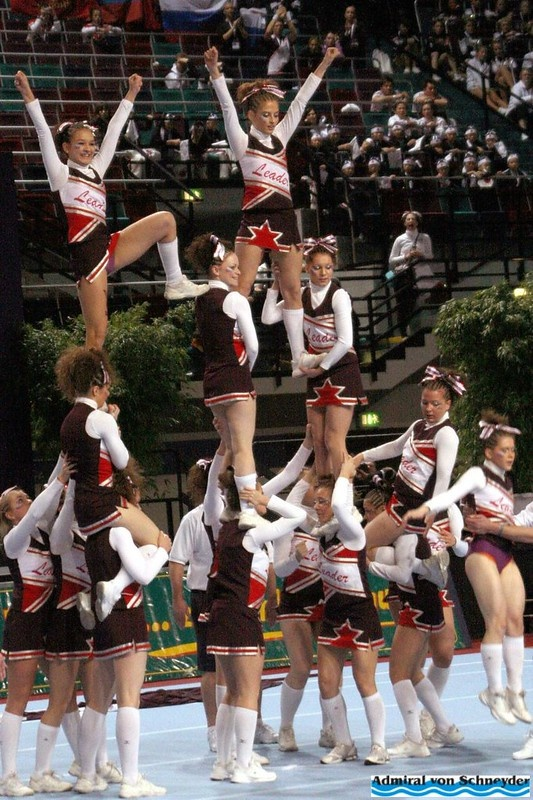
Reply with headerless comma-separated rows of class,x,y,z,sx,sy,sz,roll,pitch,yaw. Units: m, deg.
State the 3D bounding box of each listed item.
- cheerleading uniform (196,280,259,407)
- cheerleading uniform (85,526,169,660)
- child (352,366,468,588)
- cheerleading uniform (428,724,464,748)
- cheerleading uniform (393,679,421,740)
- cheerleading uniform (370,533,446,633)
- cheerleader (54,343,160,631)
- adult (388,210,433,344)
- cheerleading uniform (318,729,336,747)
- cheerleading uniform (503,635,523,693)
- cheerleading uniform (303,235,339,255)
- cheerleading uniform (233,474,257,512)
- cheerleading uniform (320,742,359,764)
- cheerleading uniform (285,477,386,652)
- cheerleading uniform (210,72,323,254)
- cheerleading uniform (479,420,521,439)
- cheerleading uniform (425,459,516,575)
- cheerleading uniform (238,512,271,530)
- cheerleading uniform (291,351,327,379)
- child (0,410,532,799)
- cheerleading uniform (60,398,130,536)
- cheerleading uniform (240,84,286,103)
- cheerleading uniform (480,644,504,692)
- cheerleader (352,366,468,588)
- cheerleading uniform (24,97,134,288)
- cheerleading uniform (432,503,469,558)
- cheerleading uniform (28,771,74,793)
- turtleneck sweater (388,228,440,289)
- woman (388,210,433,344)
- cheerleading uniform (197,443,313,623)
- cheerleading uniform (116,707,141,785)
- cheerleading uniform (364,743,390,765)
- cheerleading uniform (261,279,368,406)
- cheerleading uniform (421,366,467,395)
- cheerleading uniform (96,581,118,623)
cheerleading uniform,-0.210,-0.322,4.760,0.307,0.682,0.258,-6,5,-2
cheerleading uniform,-0.710,0.943,4.380,0.375,0.663,0.438,7,-18,-39
child,0.807,0.499,5.113,0.614,1.395,0.474,11,13,35
cheerleading uniform,1.110,2.080,5.398,0.279,0.128,0.099,-12,11,24
cheerleading uniform,0.817,1.766,5.037,0.135,0.417,0.307,-5,5,7
cheerleading uniform,0.842,1.062,5.203,0.502,0.793,0.362,-4,-10,12
cheerleader,-0.778,0.390,4.416,0.544,1.297,0.450,-3,2,-44
adult,2.214,-1.913,13.140,0.637,1.831,0.587,0,16,15
cheerleading uniform,0.403,2.246,5.791,0.163,0.105,0.058,-3,-4,35
cheerleading uniform,1.407,1.475,4.922,0.110,0.302,0.363,-4,4,15
cheerleading uniform,0.337,-0.967,5.344,0.178,0.157,0.065,-5,-28,5
cheerleading uniform,-0.109,0.478,4.464,0.069,0.072,0.195,-25,40,1
cheerleading uniform,0.451,2.074,5.157,0.261,0.112,0.093,1,-5,-35
cheerleading uniform,0.464,1.023,4.979,0.450,1.170,0.511,8,-15,-19
cheerleading uniform,0.043,-1.459,5.317,0.627,1.115,0.597,-5,5,2
cheerleading uniform,1.354,0.175,4.961,0.178,0.062,0.119,0,16,-3
cheerleading uniform,1.155,0.582,4.808,0.655,0.504,0.267,-1,-24,-10
cheerleading uniform,-0.075,0.593,4.403,0.144,0.085,0.232,-5,4,-3
cheerleading uniform,0.244,-0.217,5.375,0.136,0.089,0.288,29,-40,-35
child,-0.005,1.348,5.383,2.929,0.615,1.841,-4,8,-18
cheerleading uniform,-0.839,0.324,4.305,0.330,0.680,0.288,-4,-1,40
cheerleading uniform,-0.017,-1.829,5.152,0.261,0.117,0.222,-6,4,-8
cheerleading uniform,1.268,1.465,4.842,0.116,0.276,0.297,-5,4,13
cheerleader,0.798,0.501,5.126,0.673,1.391,0.483,10,12,36
cheerleading uniform,-1.024,-1.170,4.779,0.349,1.056,0.759,-4,5,21
cheerleading uniform,1.097,0.773,5.021,0.182,0.324,0.255,-5,1,-27
cheerleading uniform,-1.164,2.045,4.691,0.243,0.104,0.097,2,-6,0
turtleneck sweater,2.253,-2.126,13.130,0.915,1.013,0.634,0,-26,-5
woman,2.206,-1.909,13.161,0.678,1.845,0.706,-5,5,10
cheerleading uniform,-0.094,0.754,4.694,0.607,1.286,0.401,3,4,-12
cheerleading uniform,-0.655,1.696,4.125,0.135,0.443,0.140,-1,-11,-16
cheerleading uniform,0.618,1.969,4.852,0.083,0.074,0.166,-5,-13,16
cheerleading uniform,0.282,-0.401,5.387,0.546,0.965,0.326,-3,23,10
cheerleading uniform,1.024,-0.107,5.022,0.242,0.196,0.291,-5,4,6
cheerleading uniform,-0.766,0.932,4.102,0.088,0.196,0.087,8,2,37
